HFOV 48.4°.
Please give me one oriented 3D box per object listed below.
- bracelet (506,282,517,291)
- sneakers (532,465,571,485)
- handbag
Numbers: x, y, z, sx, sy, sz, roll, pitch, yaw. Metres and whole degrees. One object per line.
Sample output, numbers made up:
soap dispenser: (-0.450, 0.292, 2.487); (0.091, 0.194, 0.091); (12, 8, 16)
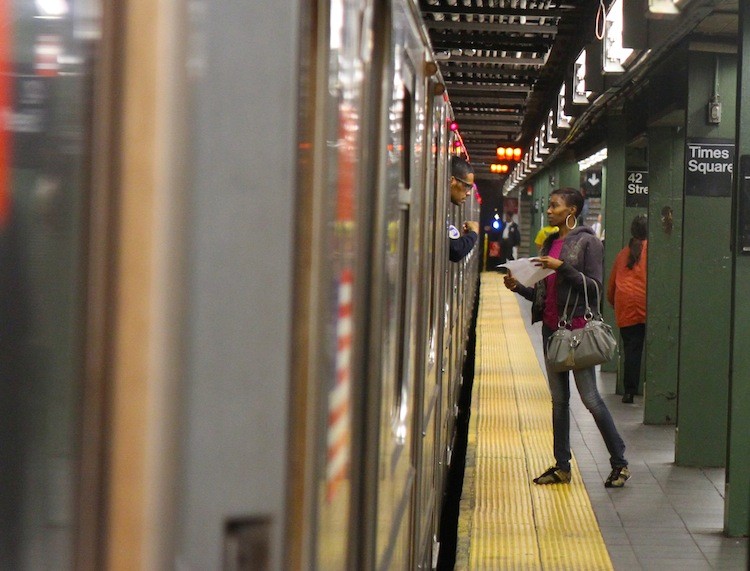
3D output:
bracelet: (0.821, 0.010, 5.025); (0.050, 0.046, 0.190); (-3, -9, 8)
sneakers: (1.071, 1.126, 4.991); (0.259, 0.142, 0.098); (2, -2, -11)
handbag: (1.189, 0.220, 4.866); (0.395, 0.684, 0.189); (-16, -38, 35)
